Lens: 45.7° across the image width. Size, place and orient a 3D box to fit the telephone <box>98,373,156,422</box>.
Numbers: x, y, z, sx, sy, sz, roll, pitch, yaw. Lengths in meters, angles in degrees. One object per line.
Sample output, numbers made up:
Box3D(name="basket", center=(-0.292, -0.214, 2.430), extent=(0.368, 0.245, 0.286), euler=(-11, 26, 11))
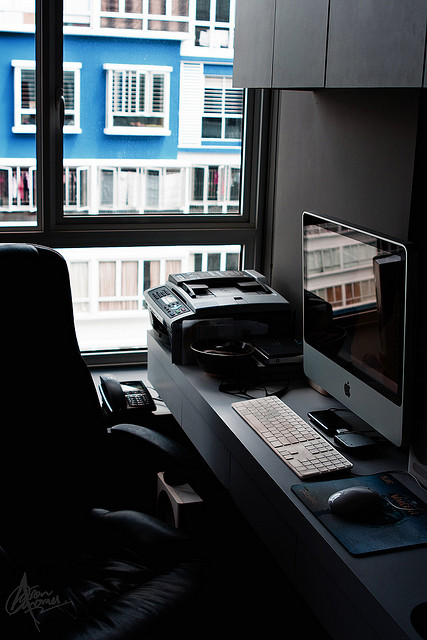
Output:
Box3D(name="telephone", center=(-0.326, 0.294, 1.846), extent=(0.137, 0.080, 0.197), euler=(1, 38, -30))

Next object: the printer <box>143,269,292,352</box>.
Box3D(name="printer", center=(0.021, -0.039, 2.014), extent=(0.512, 0.225, 0.536), euler=(-5, 16, -12))

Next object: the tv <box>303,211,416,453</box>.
Box3D(name="tv", center=(0.335, 0.022, 1.226), extent=(0.089, 0.522, 0.490), euler=(-6, 14, -13))
